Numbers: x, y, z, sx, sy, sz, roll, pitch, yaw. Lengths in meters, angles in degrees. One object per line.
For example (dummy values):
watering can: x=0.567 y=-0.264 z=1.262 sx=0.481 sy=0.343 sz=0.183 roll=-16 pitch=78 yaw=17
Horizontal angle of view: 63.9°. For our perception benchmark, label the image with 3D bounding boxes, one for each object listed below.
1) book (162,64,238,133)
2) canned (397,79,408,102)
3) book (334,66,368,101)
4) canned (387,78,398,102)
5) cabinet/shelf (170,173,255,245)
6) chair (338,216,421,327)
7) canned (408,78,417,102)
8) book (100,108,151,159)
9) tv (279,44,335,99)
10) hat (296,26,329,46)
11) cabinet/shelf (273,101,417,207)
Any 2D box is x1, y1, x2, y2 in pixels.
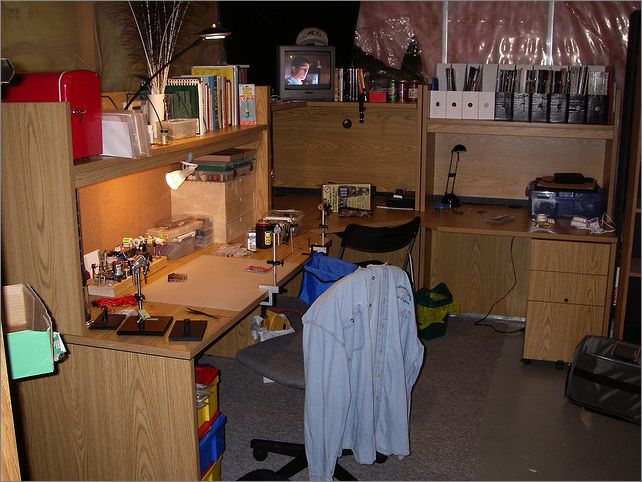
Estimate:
book: x=-0.699 y=-0.851 z=3.026 sx=0.464 sy=0.446 sz=0.328 roll=8 pitch=17 yaw=23
canned: x=0.676 y=-1.258 z=4.213 sx=0.089 sy=0.162 sz=0.039 roll=1 pitch=14 yaw=7
book: x=0.273 y=-1.355 z=4.473 sx=0.271 sy=0.349 sz=0.363 roll=0 pitch=18 yaw=5
canned: x=0.584 y=-1.256 z=4.214 sx=0.084 sy=0.180 sz=0.098 roll=3 pitch=14 yaw=16
cabinet/shelf: x=-0.721 y=-0.258 z=3.577 sx=0.422 sy=0.526 sz=0.792 roll=5 pitch=8 yaw=21
chair: x=0.407 y=0.169 z=3.642 sx=0.585 sy=0.831 sz=0.585 roll=-5 pitch=17 yaw=-17
canned: x=0.755 y=-1.246 z=4.168 sx=0.075 sy=0.162 sz=0.082 roll=1 pitch=14 yaw=7
book: x=-0.865 y=-0.484 z=2.272 sx=0.240 sy=0.236 sz=0.092 roll=2 pitch=18 yaw=5
tv: x=-0.127 y=-1.440 z=4.286 sx=0.484 sy=0.406 sz=0.262 roll=0 pitch=8 yaw=-2
hat: x=-0.071 y=-1.833 z=4.517 sx=0.192 sy=0.139 sz=0.267 roll=-4 pitch=28 yaw=-9
cabinet/shelf: x=0.267 y=-0.814 z=4.513 sx=0.969 sy=0.625 sz=0.322 roll=2 pitch=15 yaw=9
